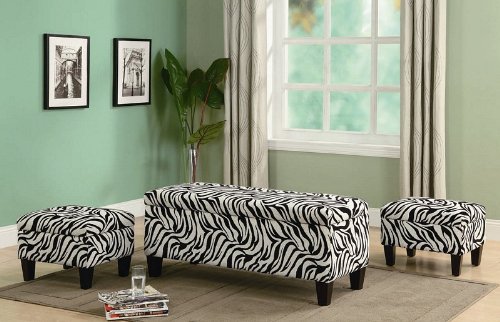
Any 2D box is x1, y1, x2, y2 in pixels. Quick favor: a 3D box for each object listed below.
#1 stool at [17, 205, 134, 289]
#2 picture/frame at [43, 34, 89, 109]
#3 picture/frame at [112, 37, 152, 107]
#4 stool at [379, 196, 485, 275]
[{"bbox_3d":[-1.403,0.611,3.437,0.689,0.560,0.698,0,-2,26],"label":"stool"},{"bbox_3d":[-2.017,-0.977,4.604,0.048,0.812,0.537,6,9,38],"label":"picture/frame"},{"bbox_3d":[-1.488,-1.109,5.246,0.075,0.847,0.540,6,9,37],"label":"picture/frame"},{"bbox_3d":[1.711,0.687,3.966,0.820,0.575,0.674,-1,0,34],"label":"stool"}]
